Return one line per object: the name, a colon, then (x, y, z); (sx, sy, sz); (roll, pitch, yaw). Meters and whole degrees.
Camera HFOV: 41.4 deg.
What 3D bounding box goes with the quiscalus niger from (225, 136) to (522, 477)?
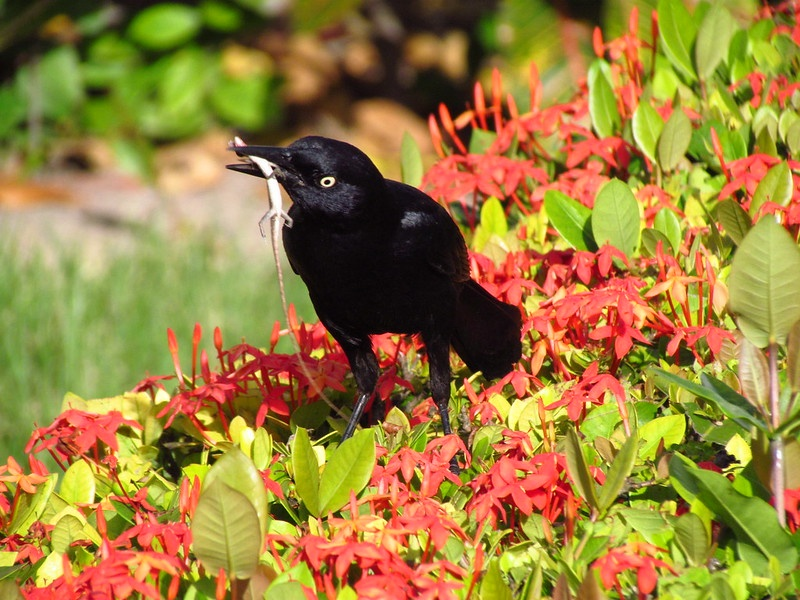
quiscalus niger: (-0.004, -0.137, 3.881); (0.753, 1.310, 1.024); (-2, 22, 5)
